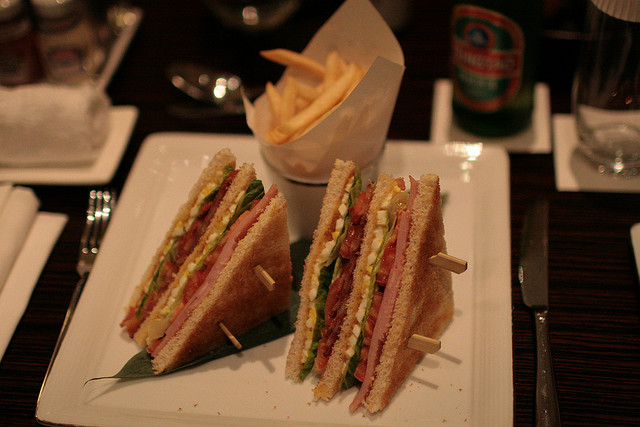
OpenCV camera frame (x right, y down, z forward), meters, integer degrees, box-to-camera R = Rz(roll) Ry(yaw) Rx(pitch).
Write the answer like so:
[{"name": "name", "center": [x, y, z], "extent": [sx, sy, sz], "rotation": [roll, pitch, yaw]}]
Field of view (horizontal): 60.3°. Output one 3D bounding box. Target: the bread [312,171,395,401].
[{"name": "bread", "center": [0.167, 0.358, 2.654], "extent": [0.199, 0.188, 1.332], "rotation": [17, 84, -7]}]

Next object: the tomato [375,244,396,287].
[{"name": "tomato", "center": [0.320, 0.219, 2.559], "extent": [0.065, 0.056, 0.205], "rotation": [0, 34, 24]}]

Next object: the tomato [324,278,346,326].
[{"name": "tomato", "center": [0.063, 0.406, 2.583], "extent": [0.043, 0.116, 0.193], "rotation": [16, 84, 28]}]

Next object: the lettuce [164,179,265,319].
[{"name": "lettuce", "center": [-0.496, 0.190, 2.679], "extent": [0.143, 0.149, 0.745], "rotation": [35, 88, 1]}]

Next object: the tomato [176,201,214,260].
[{"name": "tomato", "center": [-0.620, 0.087, 2.761], "extent": [0.302, 0.074, 0.070], "rotation": [-53, 27, -8]}]

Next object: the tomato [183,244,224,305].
[{"name": "tomato", "center": [-0.555, 0.299, 2.658], "extent": [0.033, 0.037, 0.331], "rotation": [35, 83, 6]}]

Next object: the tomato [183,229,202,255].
[{"name": "tomato", "center": [-0.632, 0.138, 2.742], "extent": [0.096, 0.032, 0.105], "rotation": [18, 81, 60]}]

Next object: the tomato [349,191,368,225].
[{"name": "tomato", "center": [0.185, -0.025, 2.581], "extent": [0.075, 0.035, 0.147], "rotation": [16, 79, 62]}]
